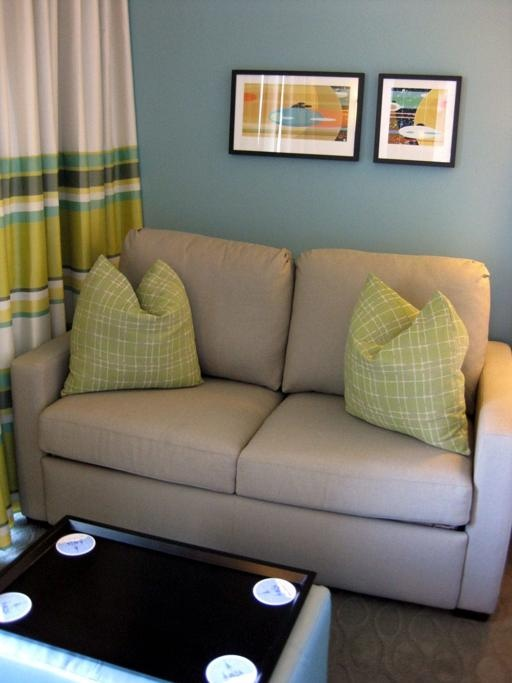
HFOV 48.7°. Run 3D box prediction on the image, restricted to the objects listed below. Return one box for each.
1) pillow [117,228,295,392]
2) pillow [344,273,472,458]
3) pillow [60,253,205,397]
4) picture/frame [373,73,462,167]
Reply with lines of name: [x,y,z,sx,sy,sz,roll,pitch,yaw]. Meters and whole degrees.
pillow: [-0.177,-0.091,2.042,0.537,0.398,0.201,9,3,15]
pillow: [0.454,0.088,1.672,0.227,0.394,0.414,-16,26,-32]
pillow: [-0.408,-0.045,1.964,0.452,0.404,0.240,-3,31,-18]
picture/frame: [0.669,-0.916,2.297,0.353,0.376,0.016,9,21,19]
